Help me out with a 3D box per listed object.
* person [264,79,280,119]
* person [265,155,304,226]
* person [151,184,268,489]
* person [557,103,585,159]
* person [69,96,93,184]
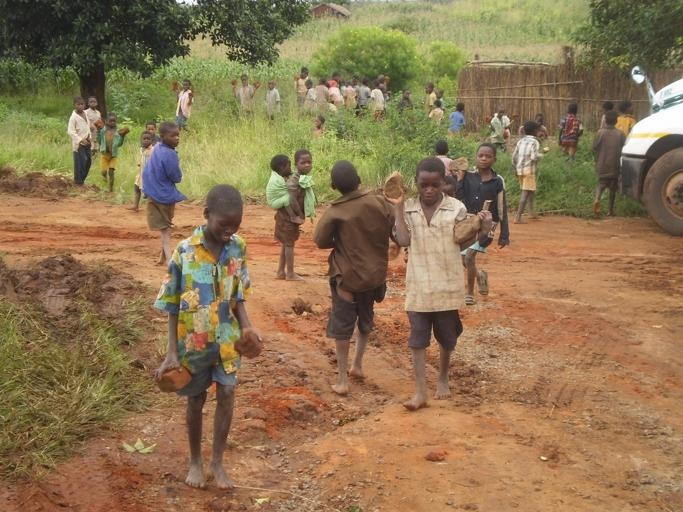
[{"bbox_3d":[-1.970,-4.381,19.914,0.385,1.094,1.035,0,6,-5],"label":"person"},{"bbox_3d":[-0.689,-0.804,8.692,0.464,0.865,0.335,1,6,0],"label":"person"},{"bbox_3d":[-0.975,0.620,5.150,0.755,2.258,0.318,-1,7,-15],"label":"person"},{"bbox_3d":[5.275,-2.876,16.209,0.471,1.346,1.321,3,6,18],"label":"person"},{"bbox_3d":[-5.432,-2.338,14.568,0.430,1.800,0.893,-2,7,-20],"label":"person"}]
